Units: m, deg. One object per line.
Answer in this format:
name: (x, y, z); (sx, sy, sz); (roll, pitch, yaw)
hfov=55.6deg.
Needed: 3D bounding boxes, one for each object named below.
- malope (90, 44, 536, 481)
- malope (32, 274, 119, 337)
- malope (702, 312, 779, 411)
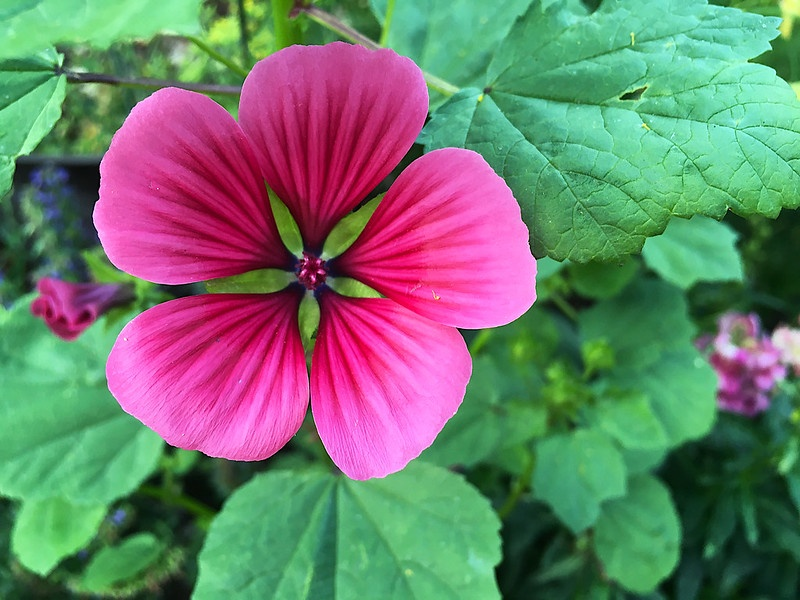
malope: (-0.079, -0.031, 0.656); (0.353, 0.187, 0.364); (6, 83, -21)
malope: (-0.436, 0.002, 1.019); (0.063, 0.113, 0.050); (7, 96, 3)
malope: (0.315, 0.058, 0.706); (0.068, 0.033, 0.075); (-28, 72, 9)
